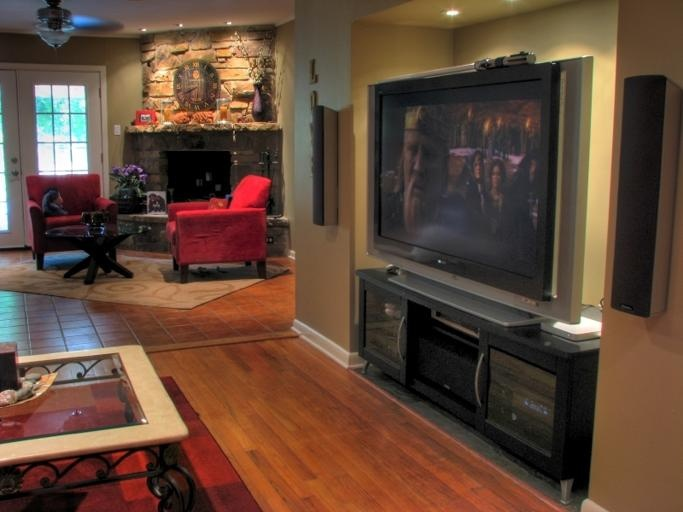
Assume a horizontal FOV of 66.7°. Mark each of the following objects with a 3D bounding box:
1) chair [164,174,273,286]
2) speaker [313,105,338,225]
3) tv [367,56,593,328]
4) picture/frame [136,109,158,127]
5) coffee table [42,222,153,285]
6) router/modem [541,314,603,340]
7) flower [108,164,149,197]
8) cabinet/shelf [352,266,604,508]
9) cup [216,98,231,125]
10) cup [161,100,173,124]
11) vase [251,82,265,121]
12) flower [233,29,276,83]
[{"bbox_3d":[-1.474,-0.336,6.312,1.246,1.280,1.275,-1,9,-17],"label":"chair"},{"bbox_3d":[-0.110,-0.610,3.517,0.178,0.789,0.139,0,11,0],"label":"speaker"},{"bbox_3d":[0.617,-0.390,2.663,0.176,1.184,1.454,-5,13,-26],"label":"tv"},{"bbox_3d":[-2.904,-2.047,7.704,0.294,0.284,0.160,1,8,0],"label":"picture/frame"},{"bbox_3d":[-2.754,-0.021,5.827,0.898,0.475,0.850,0,8,-32],"label":"coffee table"},{"bbox_3d":[1.025,0.298,2.246,0.285,0.043,0.209,-4,12,-20],"label":"router/modem"},{"bbox_3d":[-3.134,-1.094,7.693,0.519,0.551,0.550,10,14,37],"label":"flower"},{"bbox_3d":[0.683,0.502,2.827,0.506,0.836,1.672,-1,9,-27],"label":"cabinet/shelf"},{"bbox_3d":[-1.691,-2.088,7.385,0.189,0.322,0.152,-1,11,-4],"label":"cup"},{"bbox_3d":[-2.560,-2.124,7.581,0.177,0.330,0.123,-4,12,-19],"label":"cup"},{"bbox_3d":[-1.181,-2.165,7.296,0.183,0.511,0.119,-2,11,-10],"label":"vase"},{"bbox_3d":[-1.211,-2.814,7.293,0.706,0.678,0.168,6,8,11],"label":"flower"}]
